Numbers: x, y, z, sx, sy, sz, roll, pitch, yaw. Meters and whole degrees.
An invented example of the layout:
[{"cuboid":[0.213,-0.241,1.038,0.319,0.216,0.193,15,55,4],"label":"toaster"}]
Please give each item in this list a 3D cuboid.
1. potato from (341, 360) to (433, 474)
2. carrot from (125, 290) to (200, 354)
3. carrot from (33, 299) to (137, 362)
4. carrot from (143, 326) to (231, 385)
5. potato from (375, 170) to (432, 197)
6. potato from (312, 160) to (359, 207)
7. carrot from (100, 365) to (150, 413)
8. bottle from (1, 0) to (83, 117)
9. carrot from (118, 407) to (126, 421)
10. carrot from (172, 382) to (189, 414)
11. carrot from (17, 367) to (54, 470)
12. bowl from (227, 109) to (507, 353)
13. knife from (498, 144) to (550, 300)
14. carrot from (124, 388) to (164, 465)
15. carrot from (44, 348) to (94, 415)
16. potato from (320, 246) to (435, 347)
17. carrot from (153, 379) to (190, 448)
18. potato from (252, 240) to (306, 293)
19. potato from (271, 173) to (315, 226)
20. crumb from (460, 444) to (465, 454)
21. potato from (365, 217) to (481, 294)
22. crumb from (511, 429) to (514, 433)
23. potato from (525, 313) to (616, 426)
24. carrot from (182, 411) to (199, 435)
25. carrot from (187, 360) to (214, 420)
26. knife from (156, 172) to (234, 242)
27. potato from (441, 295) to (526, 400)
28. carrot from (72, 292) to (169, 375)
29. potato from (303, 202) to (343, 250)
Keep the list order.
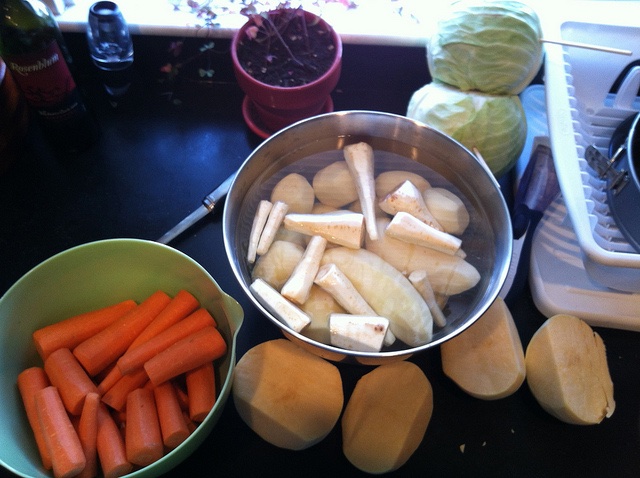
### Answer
[{"cuboid":[0.120,0.317,0.951,0.135,0.059,0.195,24,61,14],"label":"potato"},{"cuboid":[-0.272,0.138,0.954,0.074,0.271,0.074,39,88,-6],"label":"carrot"},{"cuboid":[-0.431,0.171,0.986,0.067,0.236,0.088,1,90,19],"label":"carrot"},{"cuboid":[-0.232,0.204,0.952,0.152,0.058,0.076,-23,68,-12],"label":"carrot"},{"cuboid":[0.158,-0.108,0.962,0.086,0.050,0.050,5,49,5],"label":"potato"},{"cuboid":[0.028,-0.099,0.967,0.064,0.043,0.084,28,78,4],"label":"potato"},{"cuboid":[-0.341,0.260,0.917,0.047,0.039,0.104,41,64,-10],"label":"carrot"},{"cuboid":[-0.556,-0.351,1.037,0.107,0.171,0.146,-23,60,-15],"label":"bottle"},{"cuboid":[-0.346,0.307,0.923,0.016,0.017,0.018,-7,103,-11],"label":"carrot"},{"cuboid":[-0.247,0.286,0.936,0.013,0.035,0.042,-2,91,7],"label":"carrot"},{"cuboid":[-0.465,0.299,0.853,0.035,0.035,0.139,-16,86,-39],"label":"carrot"},{"cuboid":[0.081,-0.011,0.911,0.458,0.196,0.377,12,58,6],"label":"bowl"},{"cuboid":[0.401,-0.024,1.022,0.055,0.076,0.303,19,88,23],"label":"knife"},{"cuboid":[-0.304,0.317,0.892,0.055,0.053,0.115,-5,46,-24],"label":"carrot"},{"cuboid":[-0.428,0.254,0.903,0.111,0.049,0.058,37,109,30],"label":"carrot"},{"cuboid":[0.102,0.086,0.935,0.113,0.069,0.217,-40,77,16],"label":"potato"},{"cuboid":[-0.260,0.301,0.903,0.042,0.044,0.100,-14,45,-24],"label":"carrot"},{"cuboid":[-0.072,0.045,0.910,0.082,0.038,0.080,41,82,15],"label":"potato"},{"cuboid":[-0.056,-0.067,0.996,0.068,0.049,0.094,8,85,-1],"label":"potato"},{"cuboid":[0.263,0.388,0.968,0.009,0.003,0.013,-2,74,-6],"label":"crumb"},{"cuboid":[0.186,0.043,0.965,0.190,0.065,0.098,33,75,-1],"label":"potato"},{"cuboid":[0.360,0.359,0.980,0.004,0.002,0.005,8,59,-19],"label":"crumb"},{"cuboid":[0.475,0.243,1.010,0.170,0.104,0.198,12,82,-27],"label":"potato"},{"cuboid":[-0.227,0.320,0.912,0.028,0.009,0.033,-24,72,-40],"label":"carrot"},{"cuboid":[-0.205,0.261,0.899,0.047,0.044,0.104,-11,55,6],"label":"carrot"},{"cuboid":[-0.264,-0.061,1.094,0.190,0.027,0.026,-42,83,1],"label":"knife"},{"cuboid":[0.302,0.220,1.013,0.166,0.067,0.247,-25,25,22],"label":"potato"},{"cuboid":[-0.347,0.162,0.992,0.073,0.078,0.220,38,67,8],"label":"carrot"},{"cuboid":[0.005,-0.016,0.964,0.059,0.044,0.084,-1,79,-2],"label":"potato"}]
